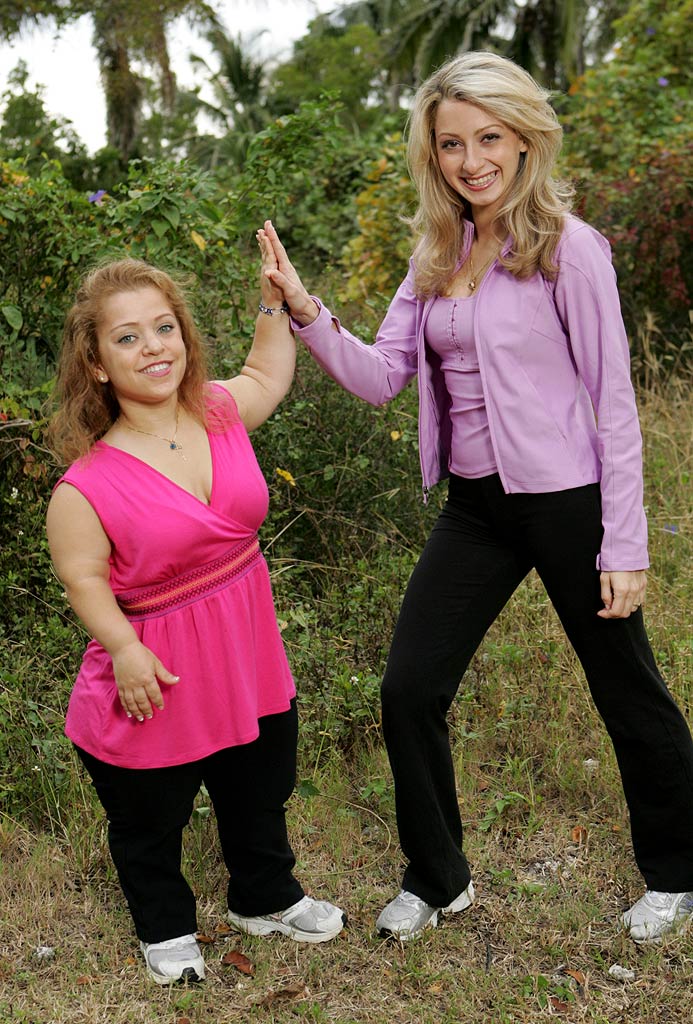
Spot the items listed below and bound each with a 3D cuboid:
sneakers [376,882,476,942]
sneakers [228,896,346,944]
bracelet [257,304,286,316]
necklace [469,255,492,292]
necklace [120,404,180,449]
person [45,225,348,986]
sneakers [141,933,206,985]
[{"bbox_3d":[0.208,1.048,2.551,0.277,0.116,0.105,-10,9,-37],"label":"sneakers"},{"bbox_3d":[-0.164,1.077,2.520,0.271,0.114,0.110,-2,5,5],"label":"sneakers"},{"bbox_3d":[-0.196,-0.507,2.377,0.047,0.018,0.036,0,3,-34],"label":"bracelet"},{"bbox_3d":[0.318,-0.582,2.274,0.030,0.077,0.058,16,1,-6],"label":"necklace"},{"bbox_3d":[-0.454,-0.191,2.162,0.131,0.096,0.095,-5,15,-12],"label":"necklace"},{"bbox_3d":[-0.387,0.281,2.275,0.618,1.730,0.490,-8,16,-20],"label":"person"},{"bbox_3d":[-0.416,1.101,2.298,0.078,0.080,0.177,2,-9,-24],"label":"sneakers"}]
